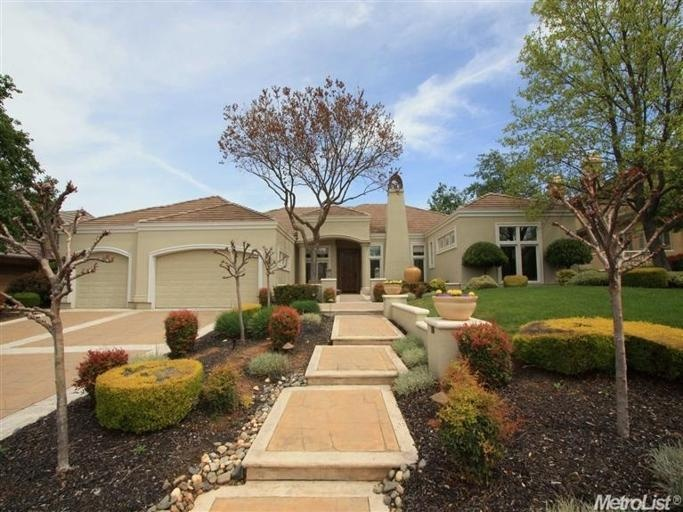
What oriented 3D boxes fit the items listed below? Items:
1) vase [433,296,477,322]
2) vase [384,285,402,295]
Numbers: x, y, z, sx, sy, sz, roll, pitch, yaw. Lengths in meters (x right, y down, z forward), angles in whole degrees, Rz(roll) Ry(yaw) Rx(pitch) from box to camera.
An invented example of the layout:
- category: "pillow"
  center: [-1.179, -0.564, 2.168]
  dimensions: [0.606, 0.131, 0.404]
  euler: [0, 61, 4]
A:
- category: "vase"
  center: [2.322, 1.083, 8.835]
  dimensions: [0.626, 0.343, 0.635]
  euler: [5, -11, -20]
- category: "vase"
  center: [1.982, 1.260, 16.259]
  dimensions: [0.597, 0.382, 0.464]
  euler: [-2, -1, 7]
